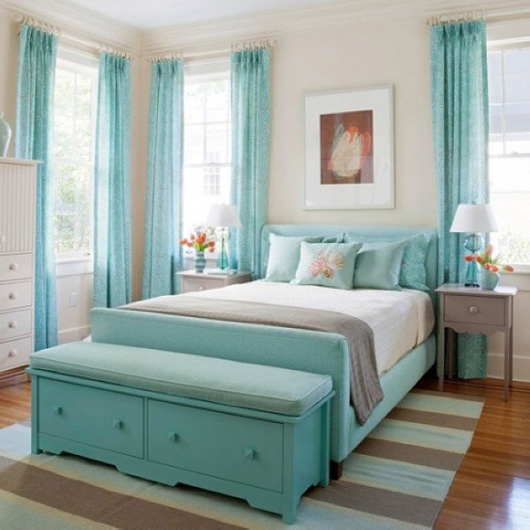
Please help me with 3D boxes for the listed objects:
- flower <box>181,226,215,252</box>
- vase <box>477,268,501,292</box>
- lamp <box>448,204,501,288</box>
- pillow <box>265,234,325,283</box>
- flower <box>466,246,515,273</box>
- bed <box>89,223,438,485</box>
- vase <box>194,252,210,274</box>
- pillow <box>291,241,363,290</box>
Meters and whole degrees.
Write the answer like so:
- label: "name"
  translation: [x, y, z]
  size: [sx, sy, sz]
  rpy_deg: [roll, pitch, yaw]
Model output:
- label: "flower"
  translation: [-0.652, -0.239, 4.755]
  size: [0.268, 0.198, 0.289]
  rpy_deg: [1, 0, -44]
- label: "vase"
  translation: [1.550, 0.104, 3.361]
  size: [0.138, 0.165, 0.146]
  rpy_deg: [-10, -2, 3]
- label: "lamp"
  translation: [1.548, -0.154, 3.504]
  size: [0.316, 0.631, 0.416]
  rpy_deg: [2, 3, 22]
- label: "pillow"
  translation: [0.222, -0.035, 4.121]
  size: [0.425, 0.417, 0.134]
  rpy_deg: [3, -11, 42]
- label: "flower"
  translation: [1.641, 0.020, 3.421]
  size: [0.279, 0.173, 0.252]
  rpy_deg: [8, -4, 4]
- label: "bed"
  translation: [0.234, 0.377, 3.293]
  size: [1.724, 1.280, 2.174]
  rpy_deg: [2, 2, 34]
- label: "vase"
  translation: [-0.624, -0.025, 4.583]
  size: [0.162, 0.265, 0.164]
  rpy_deg: [0, -2, 7]
- label: "pillow"
  translation: [0.479, 0.008, 3.719]
  size: [0.512, 0.354, 0.185]
  rpy_deg: [7, 14, 31]
